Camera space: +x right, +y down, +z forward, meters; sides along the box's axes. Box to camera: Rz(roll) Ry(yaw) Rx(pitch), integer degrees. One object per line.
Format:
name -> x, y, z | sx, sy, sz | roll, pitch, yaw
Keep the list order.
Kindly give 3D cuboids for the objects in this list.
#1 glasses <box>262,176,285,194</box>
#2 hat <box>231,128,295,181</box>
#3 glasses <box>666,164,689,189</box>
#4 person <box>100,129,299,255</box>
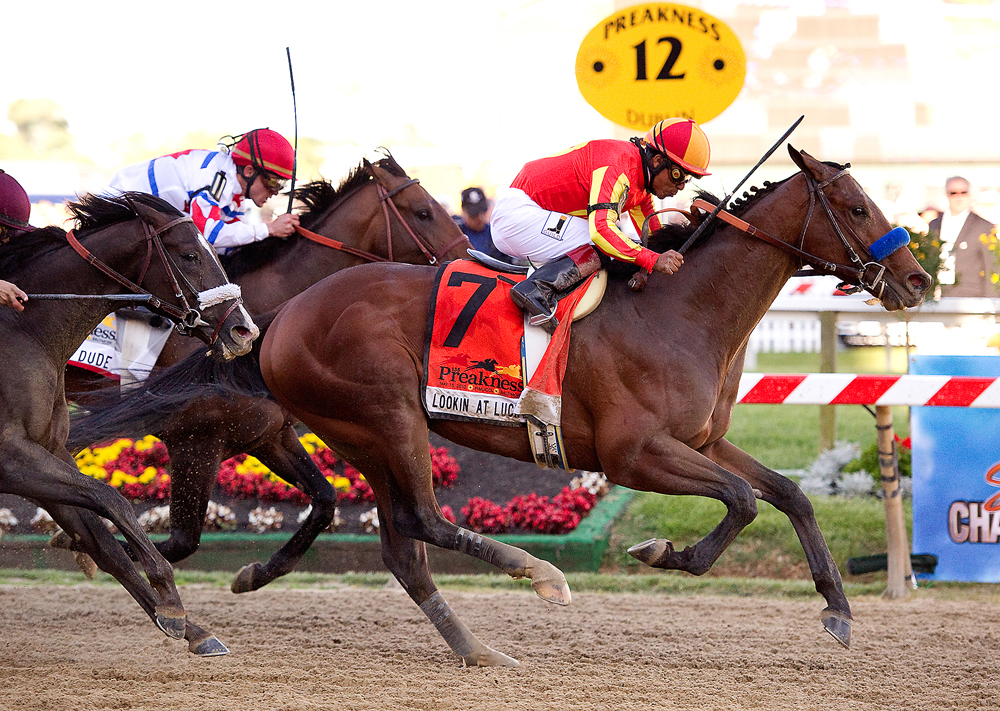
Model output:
glasses -> -1.345, -0.997, 9.886 | 0.095, 0.055, 0.096 | -2, 37, -26
hat -> -1.343, -1.140, 9.825 | 0.346, 0.283, 0.249 | 34, 4, 0
glasses -> 0.943, -0.951, 9.012 | 0.089, 0.059, 0.109 | 15, 24, -44
person -> -1.769, -1.014, 9.952 | 1.176, 0.580, 0.645 | 5, 8, 15
